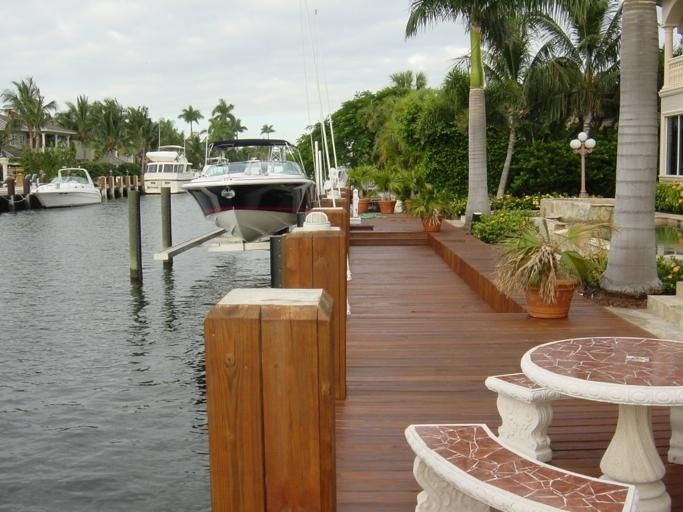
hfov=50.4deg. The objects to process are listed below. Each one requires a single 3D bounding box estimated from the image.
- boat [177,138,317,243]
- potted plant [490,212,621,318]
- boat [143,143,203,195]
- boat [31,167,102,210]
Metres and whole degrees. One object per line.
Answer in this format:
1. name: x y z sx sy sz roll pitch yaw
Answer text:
1. boat: -2.369 -1.832 20.577 2.667 2.296 4.939 1 12 2
2. potted plant: 2.635 0.148 9.156 1.396 1.024 1.261 -1 5 30
3. boat: -15.889 -7.589 66.327 3.111 3.659 8.815 0 2 -6
4. boat: -16.924 -4.077 44.495 1.741 2.332 5.152 2 10 6
